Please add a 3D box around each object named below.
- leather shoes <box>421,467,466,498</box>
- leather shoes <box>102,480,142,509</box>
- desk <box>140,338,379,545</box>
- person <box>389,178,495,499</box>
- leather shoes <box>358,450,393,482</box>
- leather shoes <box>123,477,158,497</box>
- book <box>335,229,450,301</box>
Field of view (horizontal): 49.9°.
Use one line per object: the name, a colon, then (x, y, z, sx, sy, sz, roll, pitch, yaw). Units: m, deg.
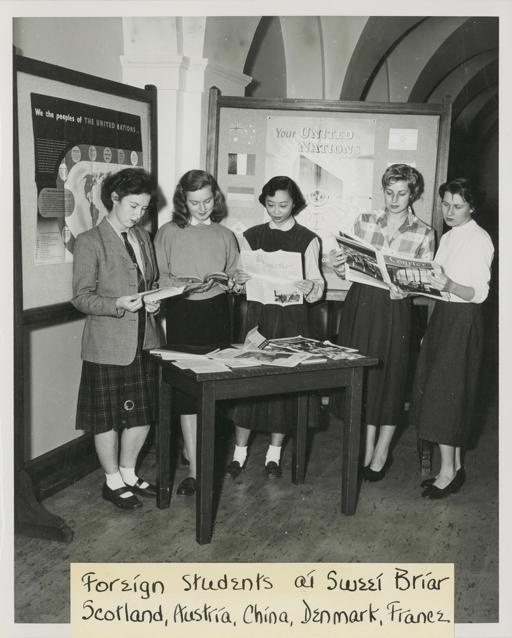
leather shoes: (0.915, 0.808, 2.679, 0.197, 0.078, 0.122, -24, 16, 3)
leather shoes: (-0.598, 0.772, 2.511, 0.186, 0.088, 0.080, 15, 11, 32)
desk: (0.010, 0.279, 2.396, 1.047, 0.955, 0.693, -2, 4, -29)
person: (0.899, 0.117, 2.529, 0.303, 1.498, 0.504, 2, 4, 16)
leather shoes: (0.644, 0.794, 2.888, 0.078, 0.057, 0.208, 18, 42, 41)
leather shoes: (-0.519, 0.787, 2.577, 0.163, 0.068, 0.067, 8, 15, -2)
book: (0.636, -0.252, 2.508, 0.446, 0.050, 0.342, 19, -23, 16)
